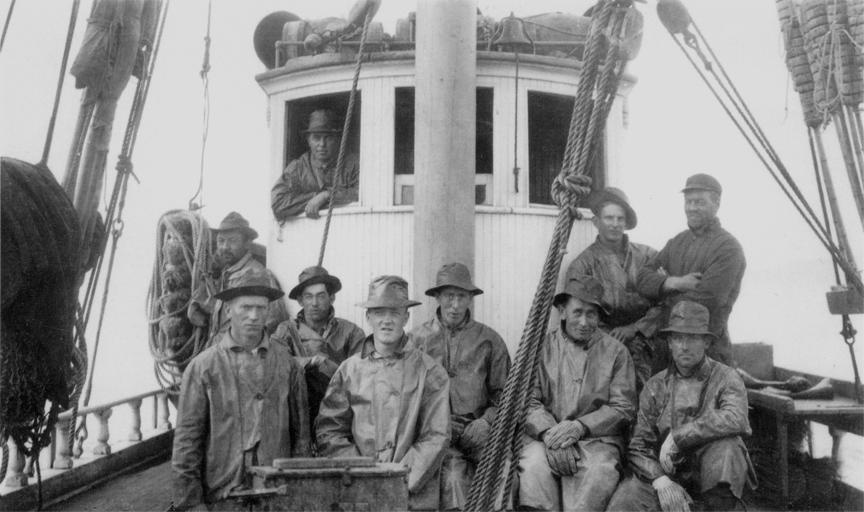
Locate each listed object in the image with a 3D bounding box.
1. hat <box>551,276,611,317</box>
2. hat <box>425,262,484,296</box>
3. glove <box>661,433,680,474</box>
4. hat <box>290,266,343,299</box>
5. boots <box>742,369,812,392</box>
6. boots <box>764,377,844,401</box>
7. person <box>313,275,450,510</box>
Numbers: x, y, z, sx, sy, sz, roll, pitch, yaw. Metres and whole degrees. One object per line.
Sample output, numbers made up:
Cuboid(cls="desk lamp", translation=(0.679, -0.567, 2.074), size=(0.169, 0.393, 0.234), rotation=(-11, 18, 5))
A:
Cuboid(cls="hat", translation=(1.679, 0.491, 15.609), size=(0.483, 0.284, 0.442), rotation=(37, -19, -34))
Cuboid(cls="hat", translation=(0.284, 0.271, 16.074), size=(0.687, 0.375, 0.600), rotation=(6, -15, -44))
Cuboid(cls="glove", translation=(2.506, 2.103, 15.171), size=(0.244, 0.366, 0.148), rotation=(-2, -15, 34))
Cuboid(cls="hat", translation=(-1.349, 0.270, 16.481), size=(0.584, 0.255, 0.550), rotation=(2, 20, 29))
Cuboid(cls="boots", translation=(3.937, 1.470, 16.484), size=(0.666, 0.224, 0.343), rotation=(3, 3, 32))
Cuboid(cls="boots", translation=(4.185, 1.527, 16.372), size=(0.581, 0.257, 0.345), rotation=(-1, -6, 12))
Cuboid(cls="person", translation=(-0.460, 1.420, 15.131), size=(1.344, 2.410, 0.397), rotation=(2, -5, 5))
